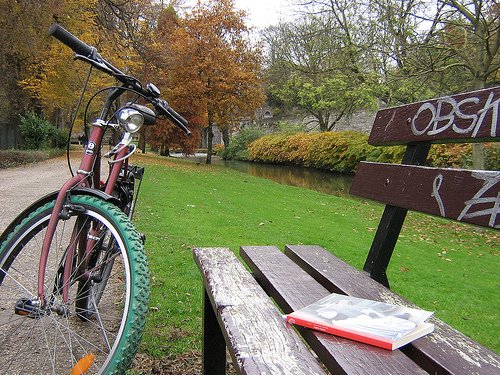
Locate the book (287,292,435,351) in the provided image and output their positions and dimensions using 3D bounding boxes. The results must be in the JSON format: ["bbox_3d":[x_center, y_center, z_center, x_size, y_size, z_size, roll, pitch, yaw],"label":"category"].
[{"bbox_3d":[0.483,0.569,1.493,0.613,0.107,0.329,10,7,21],"label":"book"}]
